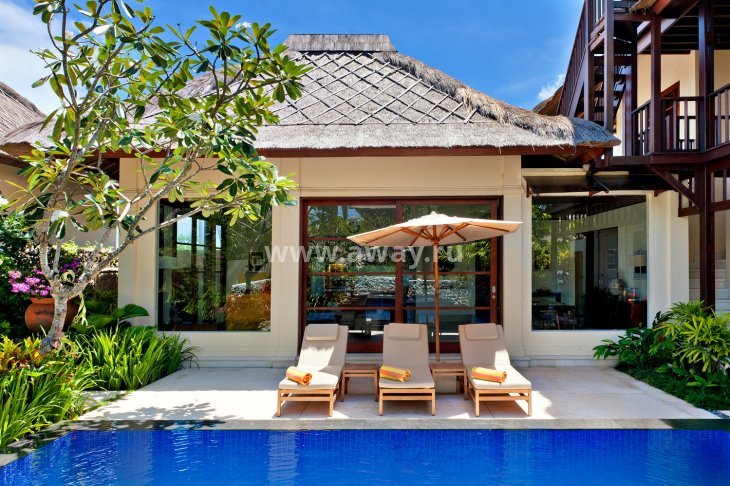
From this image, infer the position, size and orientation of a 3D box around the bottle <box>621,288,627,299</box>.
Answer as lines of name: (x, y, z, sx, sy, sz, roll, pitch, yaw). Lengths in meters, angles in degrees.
bottle: (6.025, 1.181, 12.707, 0.134, 0.234, 0.020, -2, -7, 2)

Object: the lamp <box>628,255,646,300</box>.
lamp: (6.337, 0.778, 12.670, 0.342, 1.063, 0.117, -4, -7, 19)

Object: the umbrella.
umbrella: (1.357, 0.916, 11.822, 3.281, 2.665, 3.168, -1, 5, -3)

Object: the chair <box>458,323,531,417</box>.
chair: (2.455, 2.363, 10.408, 1.199, 1.580, 1.349, -2, -7, 4)

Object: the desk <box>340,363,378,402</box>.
desk: (-0.101, 2.722, 10.826, 0.718, 0.653, 1.199, -1, -6, 1)

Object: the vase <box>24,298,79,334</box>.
vase: (-6.803, 1.470, 11.869, 1.143, 0.839, 1.107, 5, -11, -30)

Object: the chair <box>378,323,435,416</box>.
chair: (0.758, 2.354, 10.359, 1.049, 1.598, 1.133, -2, -7, 3)

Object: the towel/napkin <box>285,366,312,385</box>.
towel/napkin: (-1.216, 2.432, 9.953, 0.328, 0.132, 0.320, 7, 5, 1)

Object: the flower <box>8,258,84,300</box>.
flower: (-6.712, 0.821, 11.457, 1.303, 0.680, 1.281, -2, -2, 15)

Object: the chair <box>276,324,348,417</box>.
chair: (-1.003, 2.378, 10.427, 1.225, 1.590, 1.287, -2, -7, 1)
